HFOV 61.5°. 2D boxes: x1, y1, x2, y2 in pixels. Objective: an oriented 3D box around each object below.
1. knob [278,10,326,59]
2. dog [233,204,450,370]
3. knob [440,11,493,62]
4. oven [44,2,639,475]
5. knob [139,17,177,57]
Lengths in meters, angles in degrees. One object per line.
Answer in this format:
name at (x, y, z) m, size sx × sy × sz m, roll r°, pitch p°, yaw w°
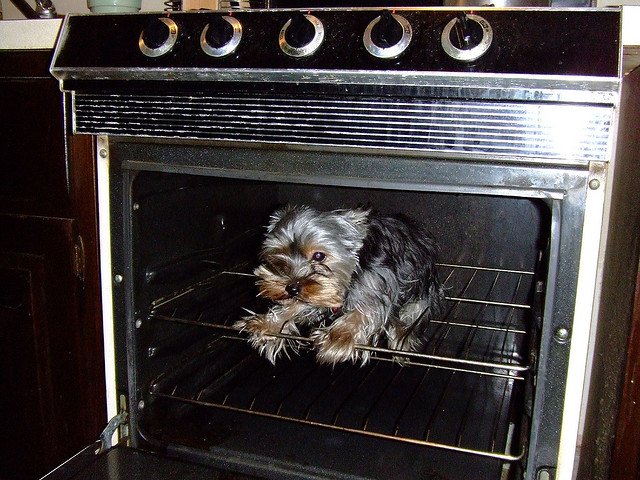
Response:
knob at (-0.033, -0.376, 0.992) m, size 0.087 × 0.083 × 0.024 m, roll 3°, pitch -1°, yaw 0°
dog at (0.072, 0.087, 1.524) m, size 0.524 × 0.399 × 0.336 m, roll -5°, pitch 7°, yaw -34°
knob at (0.255, -0.353, 0.936) m, size 0.085 × 0.073 × 0.025 m, roll 4°, pitch -1°, yaw -2°
oven at (0.060, 0.045, 1.348) m, size 1.067 × 0.929 × 0.879 m, roll 3°, pitch -1°, yaw 17°
knob at (-0.313, -0.395, 1.045) m, size 0.071 × 0.081 × 0.036 m, roll 4°, pitch -1°, yaw -15°
